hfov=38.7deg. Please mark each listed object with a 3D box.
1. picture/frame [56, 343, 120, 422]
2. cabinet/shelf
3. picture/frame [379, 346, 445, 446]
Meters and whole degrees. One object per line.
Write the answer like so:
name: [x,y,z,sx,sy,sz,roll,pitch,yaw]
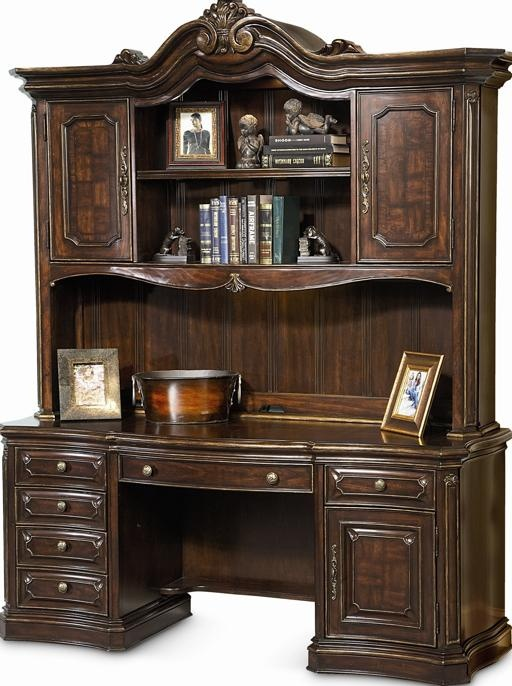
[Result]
picture/frame: [-0.761,0.192,3.288,0.352,0.407,0.030,-3,-16,-12]
cabinet/shelf: [-0.041,0.023,2.970,1.993,2.700,0.981,2,10,26]
picture/frame: [0.623,0.210,2.845,0.035,0.437,0.327,29,-12,-37]
